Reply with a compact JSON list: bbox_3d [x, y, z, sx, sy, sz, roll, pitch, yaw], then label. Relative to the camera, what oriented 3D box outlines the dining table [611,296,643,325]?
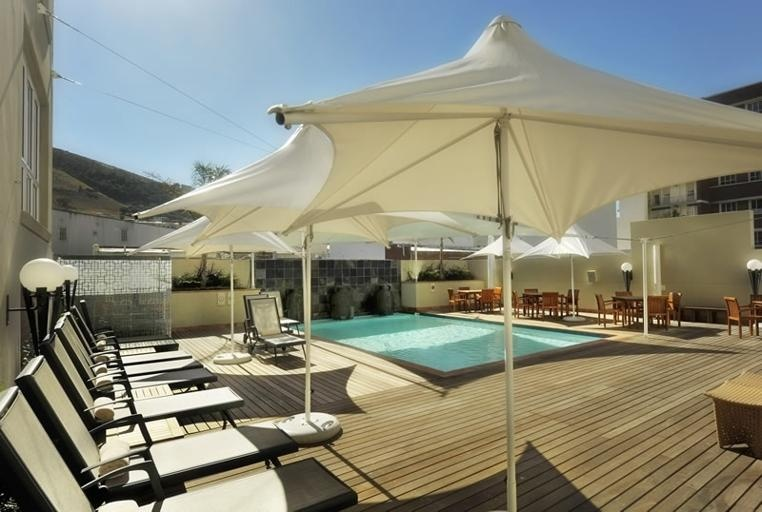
[{"bbox_3d":[7.135,1.515,12.923,0.996,0.853,0.935,0,-3,-12],"label":"dining table"}]

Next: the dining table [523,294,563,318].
[{"bbox_3d":[5.276,1.605,14.678,1.191,0.554,1.135,0,-3,-17],"label":"dining table"}]

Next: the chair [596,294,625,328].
[{"bbox_3d":[6.794,1.644,13.296,0.679,0.846,0.662,-1,-15,15],"label":"chair"}]

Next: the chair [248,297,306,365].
[{"bbox_3d":[-2.147,1.403,9.217,0.740,1.067,1.703,-4,0,-35],"label":"chair"}]

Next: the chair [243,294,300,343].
[{"bbox_3d":[-2.179,1.392,9.288,0.848,0.970,1.470,-2,4,-43],"label":"chair"}]

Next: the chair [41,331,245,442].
[{"bbox_3d":[-2.210,1.474,5.085,0.922,0.629,1.288,-24,-29,6],"label":"chair"}]

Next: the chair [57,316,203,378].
[{"bbox_3d":[-3.357,1.206,6.264,1.197,0.701,1.060,-2,2,-28],"label":"chair"}]

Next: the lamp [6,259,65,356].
[{"bbox_3d":[-3.507,0.497,4.615,0.510,0.968,1.883,0,-2,-34],"label":"lamp"}]

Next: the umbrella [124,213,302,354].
[{"bbox_3d":[-3.255,0.065,8.897,3.169,2.114,2.834,-1,0,-26],"label":"umbrella"}]

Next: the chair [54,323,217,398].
[{"bbox_3d":[-2.923,1.315,5.617,1.604,1.067,1.032,-1,3,-24],"label":"chair"}]
